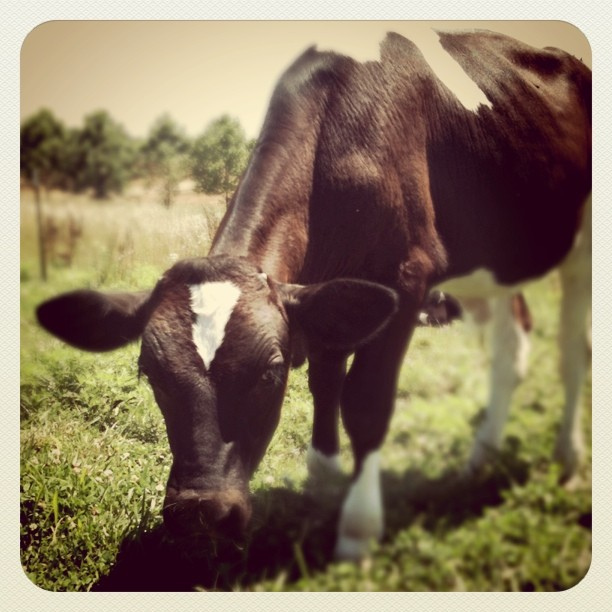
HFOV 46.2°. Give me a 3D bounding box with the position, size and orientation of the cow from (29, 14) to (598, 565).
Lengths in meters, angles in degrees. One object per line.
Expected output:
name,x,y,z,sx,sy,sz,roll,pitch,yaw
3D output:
cow,0.495,-0.402,5.622,2.071,3.324,5.018,1,6,43
